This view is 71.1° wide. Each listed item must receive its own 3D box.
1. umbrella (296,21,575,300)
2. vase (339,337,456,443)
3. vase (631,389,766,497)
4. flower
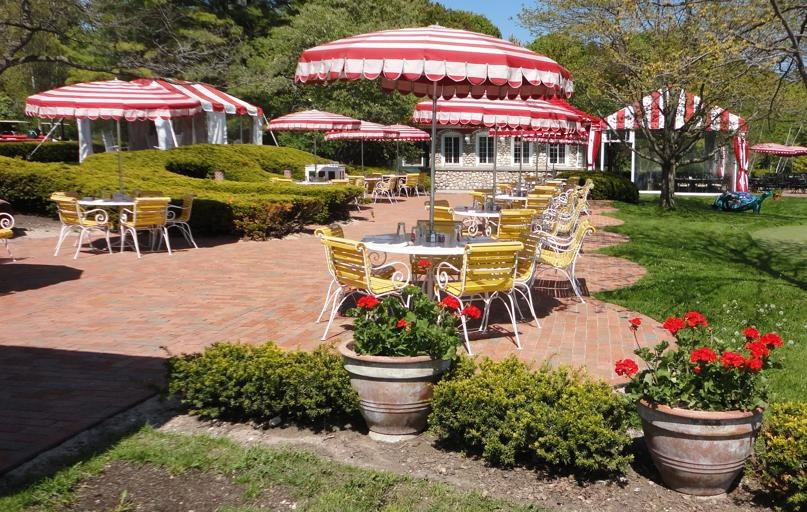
[{"bbox_3d":[0.484,-1.001,8.994,4.651,4.371,4.377,0,8,0],"label":"umbrella"},{"bbox_3d":[-0.079,1.425,5.688,1.054,0.719,1.067,6,-13,-26],"label":"vase"},{"bbox_3d":[2.519,1.643,4.804,0.908,0.598,0.869,0,-2,4],"label":"vase"},{"bbox_3d":[2.719,1.033,4.996,1.284,0.648,1.252,2,9,40],"label":"flower"}]
